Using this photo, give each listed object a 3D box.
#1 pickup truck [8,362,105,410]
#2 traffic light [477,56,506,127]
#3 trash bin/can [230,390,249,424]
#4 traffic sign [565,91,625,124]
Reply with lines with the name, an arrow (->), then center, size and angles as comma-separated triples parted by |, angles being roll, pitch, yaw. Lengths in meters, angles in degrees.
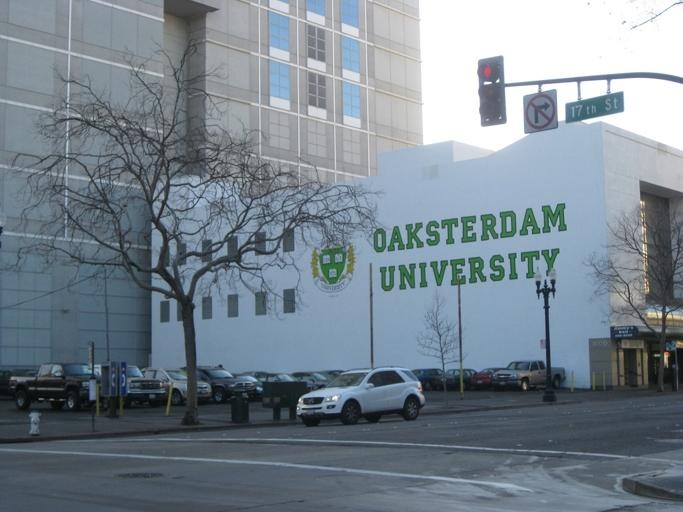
pickup truck -> -14.251, 6.373, 46.436 | 5.638, 2.683, 3.567 | -15, -17, 37
traffic light -> 4.519, -4.954, 27.591 | 0.794, 2.071, 0.319 | -3, -8, 10
trash bin/can -> -4.133, 6.090, 36.844 | 0.798, 1.743, 0.876 | -2, -3, 8
traffic sign -> 7.604, -4.459, 27.590 | 1.757, 0.776, 0.539 | -11, -13, 42
